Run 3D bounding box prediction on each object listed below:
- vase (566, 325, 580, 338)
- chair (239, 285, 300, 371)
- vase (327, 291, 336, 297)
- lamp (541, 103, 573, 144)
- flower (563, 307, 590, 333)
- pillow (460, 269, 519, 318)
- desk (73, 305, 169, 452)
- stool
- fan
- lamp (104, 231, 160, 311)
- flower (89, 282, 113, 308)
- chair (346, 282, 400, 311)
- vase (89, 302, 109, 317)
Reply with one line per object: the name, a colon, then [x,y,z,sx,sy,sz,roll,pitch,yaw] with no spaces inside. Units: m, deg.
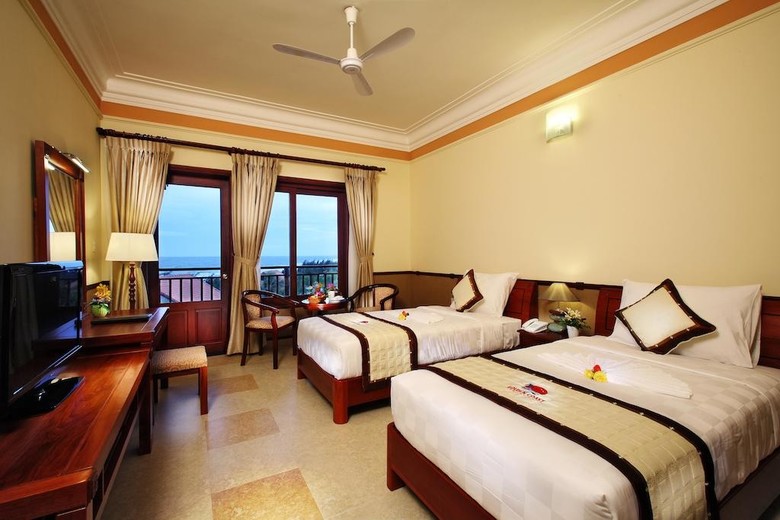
vase: [2.095,0.819,5.460,0.139,0.130,0.141,4,-9,-5]
chair: [-1.771,0.945,6.866,0.712,0.990,0.828,1,2,4]
vase: [-0.895,0.521,7.285,0.086,0.096,0.097,-1,-10,11]
lamp: [2.074,-1.672,5.843,0.393,0.405,0.222,4,15,33]
flower: [2.154,0.694,5.564,0.294,0.181,0.289,7,-8,-30]
pillow: [1.344,0.415,6.279,0.177,0.569,0.593,20,-3,-32]
desk: [-2.408,1.060,4.250,0.459,0.680,1.423,-2,4,-21]
stool: [-2.383,1.323,5.426,0.668,0.600,0.799,0,3,-34]
fan: [-0.528,-2.526,5.099,1.002,0.697,1.104,14,-32,-29]
lamp: [-3.101,0.212,5.742,0.492,1.124,0.515,16,15,25]
flower: [-3.310,0.402,5.432,0.276,0.234,0.320,4,-11,-14]
chair: [-0.264,0.624,7.906,0.568,0.685,0.539,-3,-15,22]
vase: [-3.101,0.527,5.098,0.165,0.143,0.165,-1,-3,13]
